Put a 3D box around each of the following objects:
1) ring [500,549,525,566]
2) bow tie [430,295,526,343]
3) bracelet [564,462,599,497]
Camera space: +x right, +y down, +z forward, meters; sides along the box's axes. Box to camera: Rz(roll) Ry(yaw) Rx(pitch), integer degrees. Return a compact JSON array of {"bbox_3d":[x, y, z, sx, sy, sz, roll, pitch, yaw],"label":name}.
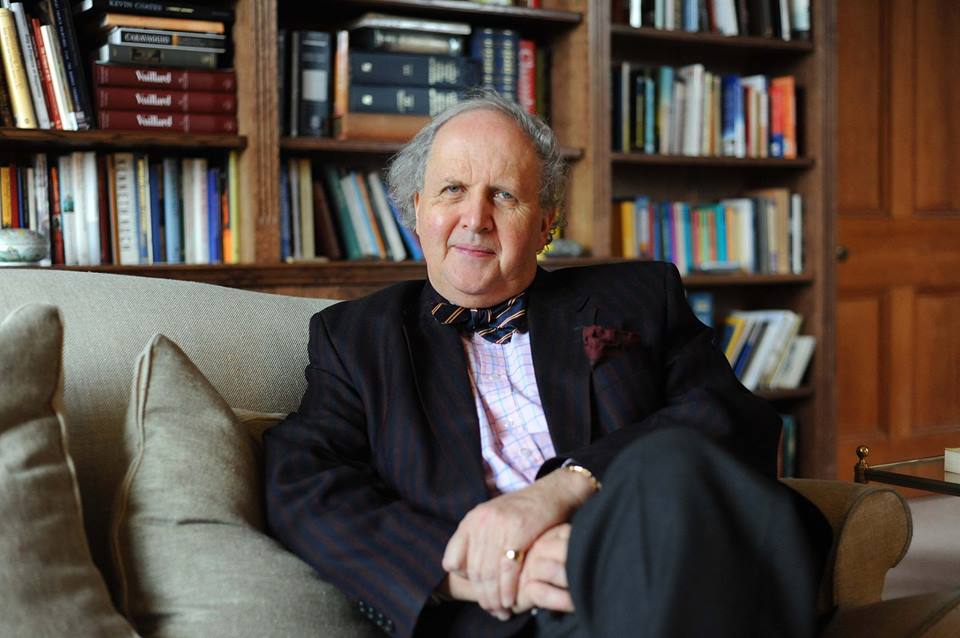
[{"bbox_3d":[0.058,0.420,1.535,0.033,0.021,0.033,7,-7,1],"label":"ring"},{"bbox_3d":[0.010,-0.012,1.941,0.240,0.077,0.057,-2,14,-22],"label":"bow tie"},{"bbox_3d":[0.196,0.311,1.663,0.021,0.053,0.046,-45,34,-12],"label":"bracelet"}]
